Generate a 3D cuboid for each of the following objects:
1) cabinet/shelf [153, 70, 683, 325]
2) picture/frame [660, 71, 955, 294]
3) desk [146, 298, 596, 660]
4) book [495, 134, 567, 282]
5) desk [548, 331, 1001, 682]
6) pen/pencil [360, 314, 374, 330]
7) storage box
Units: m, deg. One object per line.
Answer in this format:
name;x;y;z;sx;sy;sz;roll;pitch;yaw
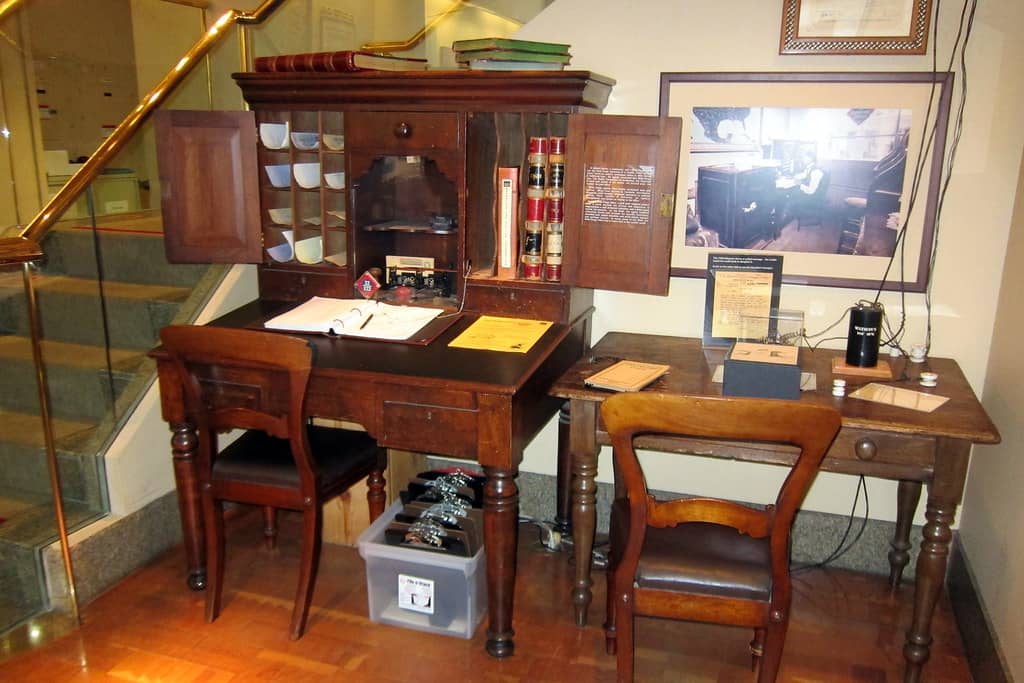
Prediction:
cabinet/shelf;-0.417;-0.603;3.383;2.002;0.848;0.529;2;10;-1
picture/frame;1.255;-0.674;3.239;1.054;0.721;0.045;4;13;14
desk;-0.453;0.276;3.505;1.919;1.208;1.319;5;19;20
book;0.084;-0.556;3.304;0.292;0.584;0.229;17;23;40
desk;1.029;0.788;3.514;2.033;1.340;1.257;4;19;14
pen/pencil;-0.597;-0.082;3.236;0.018;0.010;0.119;13;24;7
storage box;-0.340;0.932;3.222;0.527;0.294;0.488;3;16;11
